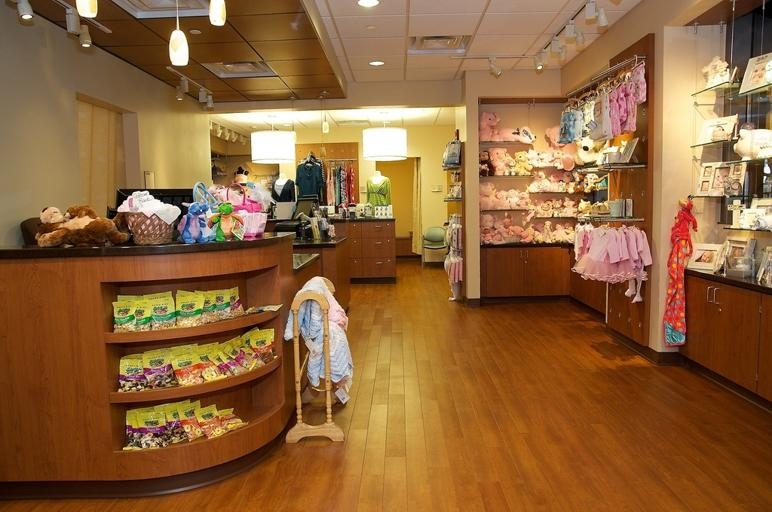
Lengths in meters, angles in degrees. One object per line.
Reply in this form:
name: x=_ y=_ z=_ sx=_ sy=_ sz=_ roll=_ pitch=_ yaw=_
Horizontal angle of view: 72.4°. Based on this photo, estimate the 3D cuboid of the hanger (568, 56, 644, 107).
hanger: x=2.596 y=-2.088 z=6.217 sx=0.196 sy=0.257 sz=0.754 roll=-15 pitch=6 yaw=-14

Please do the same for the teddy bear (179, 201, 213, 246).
teddy bear: x=-1.526 y=-0.289 z=4.213 sx=0.213 sy=0.324 sz=0.277 roll=14 pitch=11 yaw=17

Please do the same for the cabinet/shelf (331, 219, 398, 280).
cabinet/shelf: x=-0.293 y=-0.187 z=10.418 sx=1.534 sy=1.657 sz=0.942 roll=-1 pitch=2 yaw=-2

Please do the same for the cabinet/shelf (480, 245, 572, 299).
cabinet/shelf: x=2.132 y=0.185 z=8.259 sx=1.339 sy=0.856 sz=0.453 roll=-1 pitch=16 yaw=10

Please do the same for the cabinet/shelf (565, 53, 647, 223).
cabinet/shelf: x=2.599 y=-1.332 z=6.267 sx=0.478 sy=1.794 sz=1.307 roll=-2 pitch=9 yaw=2

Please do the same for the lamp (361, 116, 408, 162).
lamp: x=-0.025 y=-1.866 z=8.559 sx=0.623 sy=0.743 sz=0.641 roll=0 pitch=6 yaw=-4

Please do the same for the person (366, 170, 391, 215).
person: x=-0.158 y=-1.274 z=10.661 sx=0.449 sy=0.838 sz=0.982 roll=-2 pitch=9 yaw=-2

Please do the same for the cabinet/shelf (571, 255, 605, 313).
cabinet/shelf: x=2.622 y=0.372 z=6.822 sx=0.213 sy=0.689 sz=0.706 roll=0 pitch=8 yaw=0

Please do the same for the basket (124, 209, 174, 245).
basket: x=-1.819 y=-0.229 z=4.038 sx=0.261 sy=0.199 sz=0.259 roll=1 pitch=3 yaw=4

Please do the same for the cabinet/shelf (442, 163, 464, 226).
cabinet/shelf: x=1.220 y=-1.165 z=9.636 sx=0.428 sy=1.263 sz=1.389 roll=0 pitch=5 yaw=4

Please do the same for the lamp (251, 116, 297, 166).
lamp: x=-1.816 y=-1.839 z=8.414 sx=0.613 sy=0.742 sz=0.653 roll=10 pitch=17 yaw=30

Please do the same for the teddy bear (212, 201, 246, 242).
teddy bear: x=-1.276 y=-0.286 z=4.257 sx=0.258 sy=0.313 sz=0.183 roll=5 pitch=31 yaw=-6

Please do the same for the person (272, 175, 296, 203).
person: x=-2.033 y=-1.345 z=10.554 sx=0.462 sy=0.466 sz=0.784 roll=-4 pitch=9 yaw=-13

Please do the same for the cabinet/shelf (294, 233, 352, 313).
cabinet/shelf: x=-0.903 y=0.310 z=7.665 sx=0.665 sy=1.102 sz=1.133 roll=-1 pitch=9 yaw=3

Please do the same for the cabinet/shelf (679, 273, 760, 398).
cabinet/shelf: x=3.355 y=0.759 z=5.380 sx=0.347 sy=0.981 sz=1.003 roll=7 pitch=-5 yaw=22

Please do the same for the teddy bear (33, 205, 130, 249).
teddy bear: x=-2.350 y=-0.212 z=4.095 sx=0.578 sy=0.286 sz=0.388 roll=5 pitch=5 yaw=-27

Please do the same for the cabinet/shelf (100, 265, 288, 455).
cabinet/shelf: x=-1.635 y=0.758 z=4.447 sx=1.695 sy=1.471 sz=0.940 roll=-3 pitch=1 yaw=-35
